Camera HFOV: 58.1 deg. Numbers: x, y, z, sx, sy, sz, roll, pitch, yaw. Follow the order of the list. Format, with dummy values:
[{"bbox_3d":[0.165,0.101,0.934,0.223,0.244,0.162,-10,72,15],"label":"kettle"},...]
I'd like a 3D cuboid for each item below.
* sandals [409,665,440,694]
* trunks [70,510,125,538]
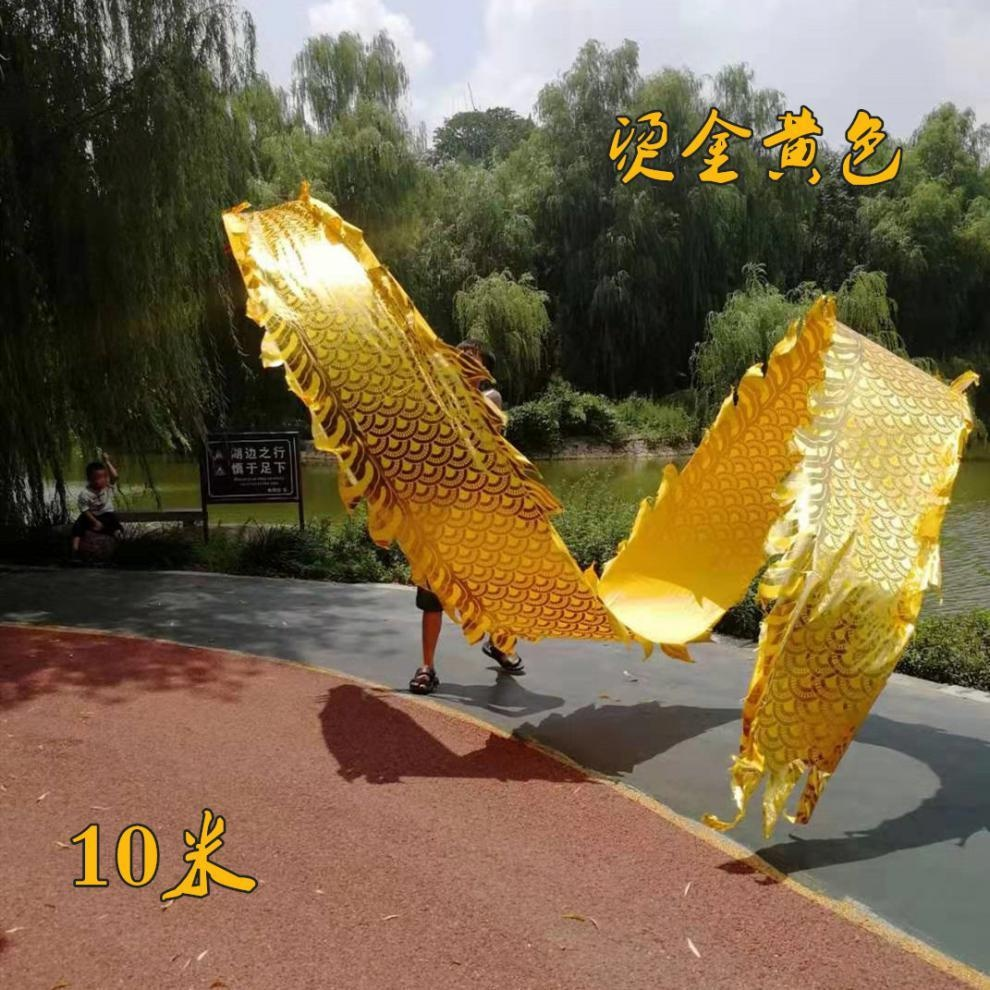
[{"bbox_3d":[-0.341,0.900,4.358,0.115,0.134,0.060,9,-18,7],"label":"sandals"},{"bbox_3d":[-3.465,0.248,7.777,0.290,0.242,0.083,14,-32,-24],"label":"trunks"}]
